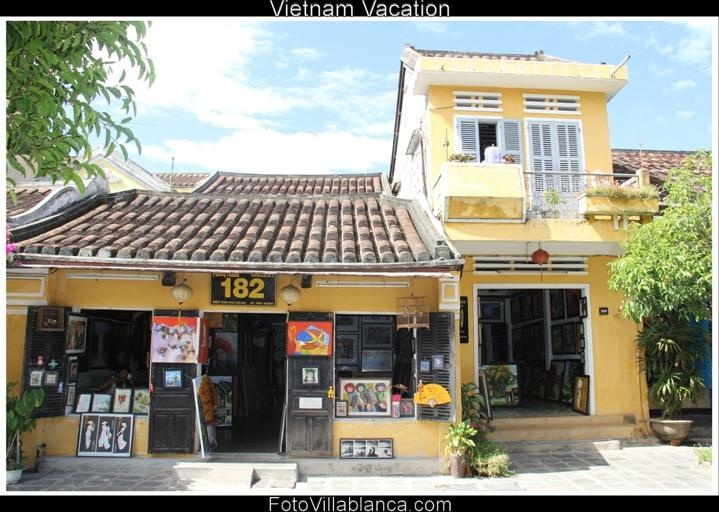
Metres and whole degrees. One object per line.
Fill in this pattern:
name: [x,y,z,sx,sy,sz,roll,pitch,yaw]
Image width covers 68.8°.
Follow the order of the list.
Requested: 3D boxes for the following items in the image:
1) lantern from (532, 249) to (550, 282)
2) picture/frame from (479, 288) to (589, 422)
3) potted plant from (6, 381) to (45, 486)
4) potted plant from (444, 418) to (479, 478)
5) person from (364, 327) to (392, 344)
lantern: [4.288,0.237,12.520,0.337,0.925,1.054,7,11,19]
picture/frame: [5.020,2.790,14.808,0.963,2.603,2.885,7,-18,-13]
potted plant: [-6.303,3.251,9.834,0.625,1.576,1.140,-3,12,-31]
potted plant: [1.960,3.749,10.109,0.723,0.946,0.573,3,-6,-30]
person: [0.482,2.328,15.308,0.933,0.591,0.482,1,-8,-2]
